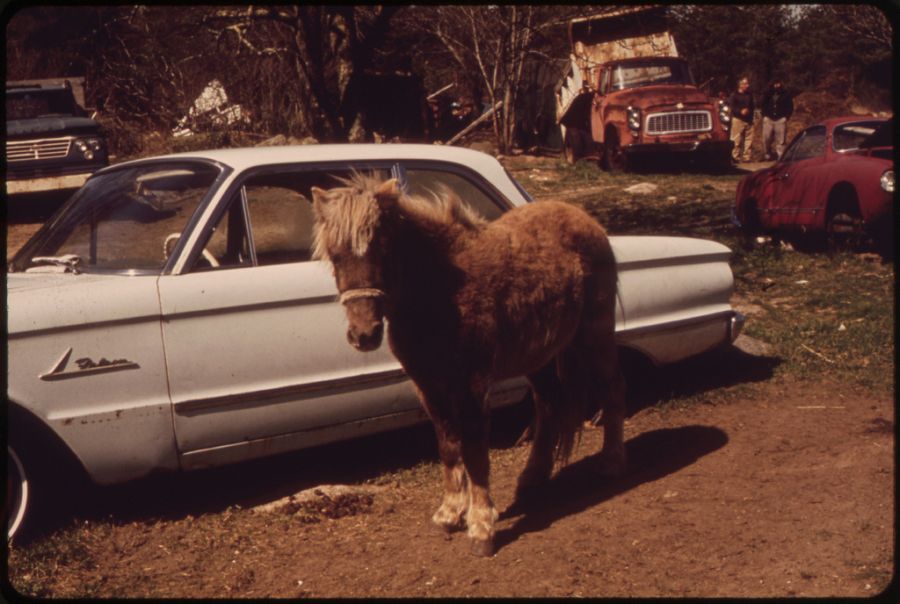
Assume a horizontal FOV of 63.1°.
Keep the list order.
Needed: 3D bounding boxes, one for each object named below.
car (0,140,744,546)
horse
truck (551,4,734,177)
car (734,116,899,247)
[{"bbox_3d":[-0.505,0.233,6.074,5.352,1.771,2.444,-3,3,-26],"label":"car"},{"bbox_3d":[0.257,0.322,5.498,0.947,2.817,2.889,5,13,43],"label":"horse"},{"bbox_3d":[4.109,-5.143,17.634,2.361,2.879,5.181,-7,16,-12],"label":"truck"},{"bbox_3d":[5.531,-1.776,10.900,1.482,1.095,2.452,-6,9,-30],"label":"car"}]
